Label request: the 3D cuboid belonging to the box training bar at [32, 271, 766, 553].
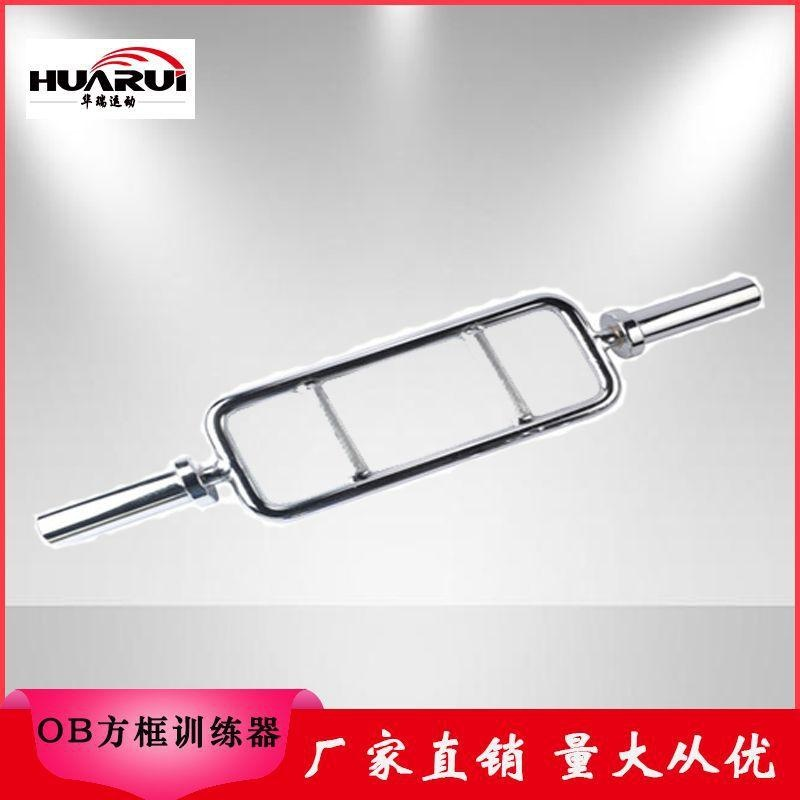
[{"bbox_3d":[-0.011,0.014,1.399,1.150,0.111,0.225,-17,-104,-5],"label":"box training bar"}]
